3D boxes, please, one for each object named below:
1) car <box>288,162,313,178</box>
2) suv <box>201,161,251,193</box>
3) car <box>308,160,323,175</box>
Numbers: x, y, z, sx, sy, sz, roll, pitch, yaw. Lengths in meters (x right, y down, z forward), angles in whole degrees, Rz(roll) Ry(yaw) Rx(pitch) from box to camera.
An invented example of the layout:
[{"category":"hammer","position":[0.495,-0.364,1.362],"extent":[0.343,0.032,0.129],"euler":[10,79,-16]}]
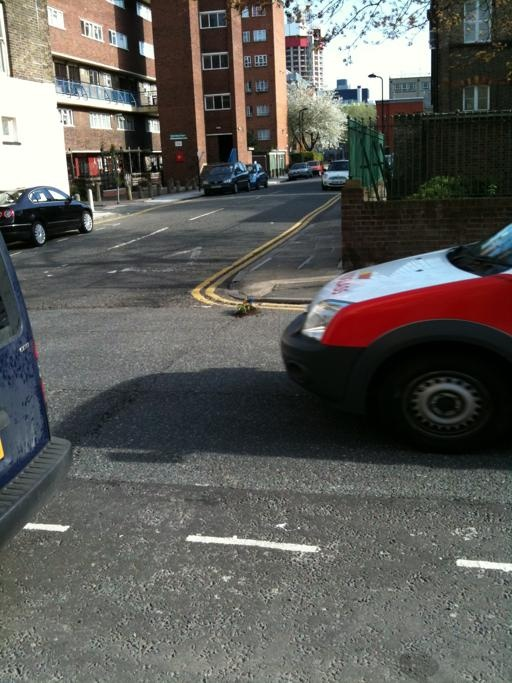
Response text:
[{"category":"car","position":[4.473,-17.229,59.769],"extent":[1.492,1.207,2.644],"euler":[1,21,14]},{"category":"suv","position":[-2.064,-11.230,40.455],"extent":[1.999,1.486,3.332],"euler":[1,17,15]},{"category":"car","position":[6.527,-18.867,64.361],"extent":[1.486,1.387,2.734],"euler":[3,41,13]}]
